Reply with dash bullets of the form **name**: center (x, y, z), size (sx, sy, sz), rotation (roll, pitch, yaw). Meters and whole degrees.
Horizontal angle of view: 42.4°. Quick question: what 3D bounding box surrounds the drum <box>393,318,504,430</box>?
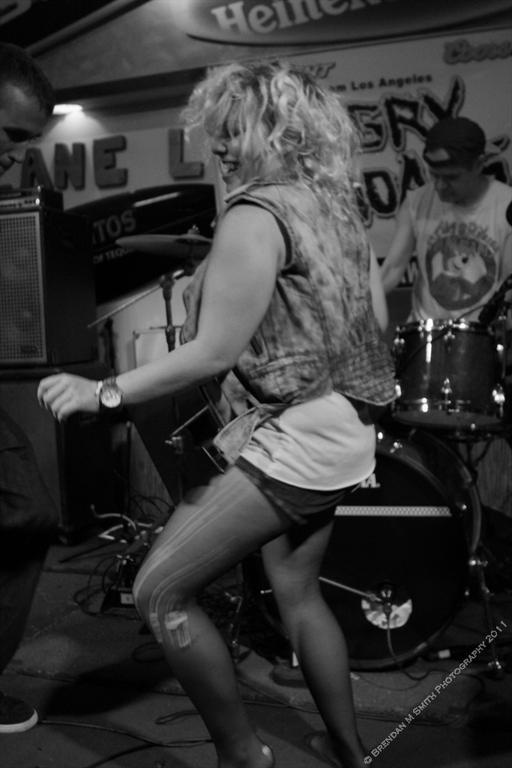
- **drum**: center (0.625, -0.065, 2.018), size (0.334, 0.252, 0.338), rotation (6, -16, 2)

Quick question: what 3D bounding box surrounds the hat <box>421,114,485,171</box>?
- **hat**: center (0.735, -0.894, 2.404), size (0.195, 0.202, 0.203), rotation (4, 9, 25)

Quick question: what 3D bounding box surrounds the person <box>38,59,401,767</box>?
- **person**: center (-0.024, 0.054, 1.052), size (0.284, 1.124, 0.569), rotation (7, 11, 41)

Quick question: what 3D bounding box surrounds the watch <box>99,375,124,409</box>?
- **watch**: center (-0.203, 0.012, 0.913), size (0.030, 0.048, 0.043), rotation (-2, 3, -32)
